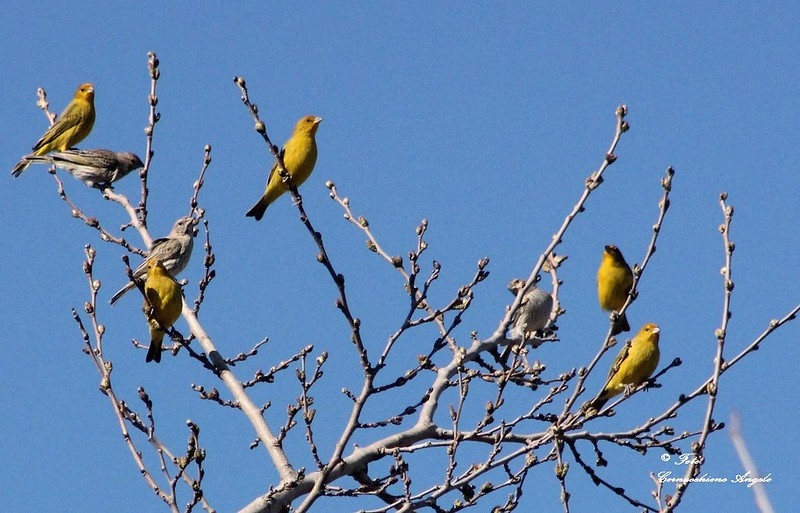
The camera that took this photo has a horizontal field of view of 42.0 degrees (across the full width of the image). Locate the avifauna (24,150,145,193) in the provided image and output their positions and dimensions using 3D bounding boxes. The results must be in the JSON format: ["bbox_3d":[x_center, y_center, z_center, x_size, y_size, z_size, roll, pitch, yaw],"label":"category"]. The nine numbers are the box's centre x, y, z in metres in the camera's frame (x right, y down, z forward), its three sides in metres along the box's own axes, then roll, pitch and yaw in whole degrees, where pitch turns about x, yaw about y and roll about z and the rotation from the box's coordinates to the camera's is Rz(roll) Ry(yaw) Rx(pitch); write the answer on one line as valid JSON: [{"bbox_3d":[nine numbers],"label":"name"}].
[{"bbox_3d":[-4.763,-1.299,15.704,1.730,0.570,0.675,4,-91,-20],"label":"avifauna"}]

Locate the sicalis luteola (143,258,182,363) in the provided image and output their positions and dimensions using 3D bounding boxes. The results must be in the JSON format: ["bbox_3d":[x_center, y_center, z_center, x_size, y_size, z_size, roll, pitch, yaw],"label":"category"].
[{"bbox_3d":[-2.888,0.632,12.576,0.391,0.540,1.313,3,-88,-21],"label":"sicalis luteola"}]
